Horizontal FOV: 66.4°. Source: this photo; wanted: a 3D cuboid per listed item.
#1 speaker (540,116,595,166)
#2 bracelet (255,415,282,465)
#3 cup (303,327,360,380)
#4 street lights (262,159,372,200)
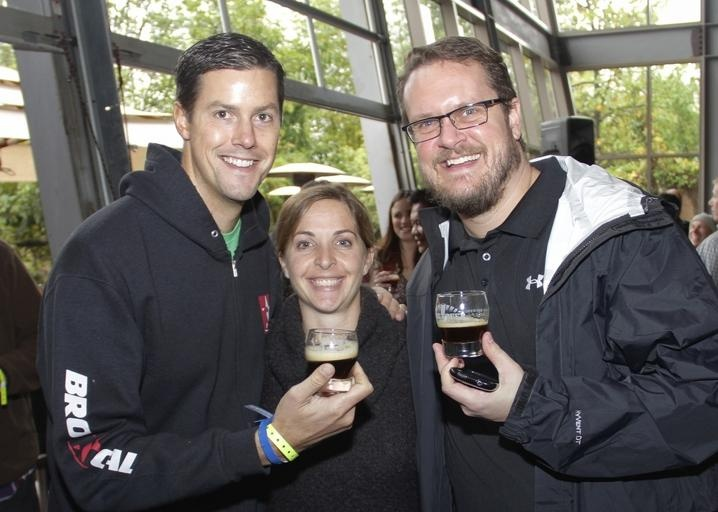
[{"bbox_3d":[2.139,-1.044,5.762,0.473,0.757,0.420,-8,10,-40],"label":"speaker"},{"bbox_3d":[-0.300,0.629,1.846,0.084,0.122,0.131,-29,-19,-10],"label":"bracelet"},{"bbox_3d":[-0.094,0.346,1.977,0.183,0.191,0.180,0,-5,0],"label":"cup"},{"bbox_3d":[-0.395,-0.661,4.655,0.872,0.259,0.865,0,0,3],"label":"street lights"}]
